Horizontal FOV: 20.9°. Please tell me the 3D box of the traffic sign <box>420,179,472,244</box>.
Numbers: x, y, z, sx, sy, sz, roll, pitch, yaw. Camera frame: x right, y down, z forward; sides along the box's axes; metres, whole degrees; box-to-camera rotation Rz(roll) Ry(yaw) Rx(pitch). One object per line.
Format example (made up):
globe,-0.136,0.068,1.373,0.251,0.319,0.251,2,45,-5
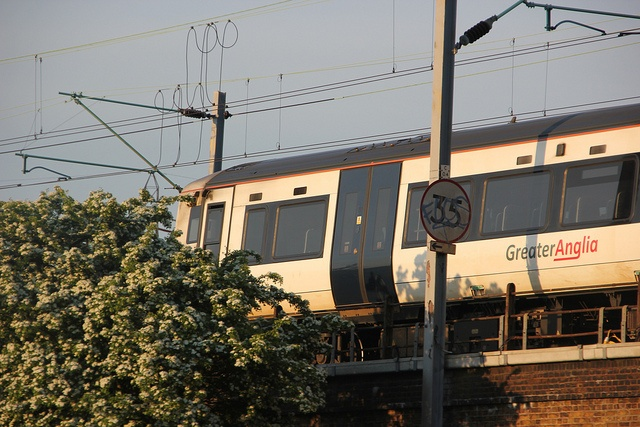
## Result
traffic sign,2.693,-0.037,36.889,1.694,1.522,0.081,-1,4,-15
